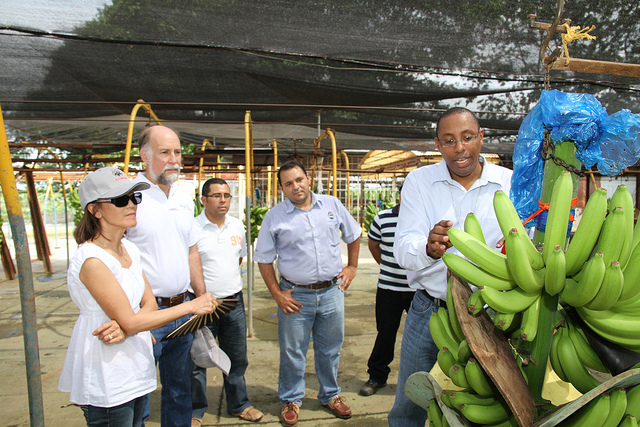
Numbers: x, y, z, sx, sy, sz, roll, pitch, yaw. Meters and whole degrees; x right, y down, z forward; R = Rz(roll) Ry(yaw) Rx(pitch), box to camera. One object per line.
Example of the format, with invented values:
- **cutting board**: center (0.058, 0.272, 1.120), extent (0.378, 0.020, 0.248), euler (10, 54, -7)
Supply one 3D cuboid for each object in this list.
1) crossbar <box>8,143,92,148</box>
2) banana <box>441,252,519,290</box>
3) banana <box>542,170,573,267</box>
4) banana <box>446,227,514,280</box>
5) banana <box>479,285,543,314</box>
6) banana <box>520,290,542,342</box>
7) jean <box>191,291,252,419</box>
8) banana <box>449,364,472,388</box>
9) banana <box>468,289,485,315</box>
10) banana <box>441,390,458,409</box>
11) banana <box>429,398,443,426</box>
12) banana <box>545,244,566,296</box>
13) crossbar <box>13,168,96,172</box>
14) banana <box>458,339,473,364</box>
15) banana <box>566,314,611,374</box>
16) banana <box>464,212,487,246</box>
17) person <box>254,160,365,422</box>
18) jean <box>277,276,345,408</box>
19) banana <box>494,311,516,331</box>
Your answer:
- **crossbar**: center (-5.139, -1.308, 9.708), extent (1.126, 0.076, 1.347), euler (3, 9, 28)
- **banana**: center (1.008, 0.358, 3.155), extent (0.673, 0.215, 0.155), euler (5, -6, -26)
- **banana**: center (1.457, 0.002, 3.035), extent (0.130, 0.173, 0.672), euler (-31, 19, 48)
- **banana**: center (0.969, 0.255, 3.112), extent (0.505, 0.130, 0.180), euler (37, -1, -7)
- **banana**: center (1.105, 0.546, 3.033), extent (0.119, 0.151, 0.443), euler (30, -16, -25)
- **banana**: center (1.227, 0.610, 3.013), extent (0.088, 0.310, 0.104), euler (14, -18, -5)
- **jean**: center (-1.076, 1.560, 5.415), extent (0.648, 1.285, 0.448), euler (-4, 8, -19)
- **banana**: center (0.840, 0.998, 3.098), extent (0.088, 0.164, 0.071), euler (-35, -13, -3)
- **banana**: center (0.914, 0.534, 3.041), extent (0.087, 0.150, 0.055), euler (31, -10, 6)
- **banana**: center (0.762, 1.124, 3.081), extent (0.058, 0.102, 0.078), euler (-41, 2, -37)
- **banana**: center (0.710, 1.236, 3.132), extent (0.053, 0.190, 0.065), euler (-18, -1, 32)
- **banana**: center (1.352, 0.356, 2.939), extent (0.101, 0.319, 0.097), euler (7, 27, 30)
- **crossbar**: center (-6.374, -1.054, 12.114), extent (1.059, 0.022, 0.152), euler (0, -31, -5)
- **banana**: center (0.880, 0.848, 3.092), extent (0.057, 0.186, 0.067), euler (25, 53, 35)
- **banana**: center (1.592, 0.786, 3.008), extent (0.084, 0.364, 0.147), euler (-30, 1, 3)
- **banana**: center (0.955, 0.086, 3.185), extent (0.082, 0.249, 0.075), euler (-26, -9, 7)
- **person**: center (-0.125, 0.827, 5.488), extent (1.119, 2.752, 0.711), euler (-3, 8, -12)
- **jean**: center (-0.102, 1.449, 5.454), extent (0.715, 1.464, 0.315), euler (-2, 8, -4)
- **banana**: center (1.068, 0.633, 2.971), extent (0.045, 0.079, 0.121), euler (-29, -17, -23)
